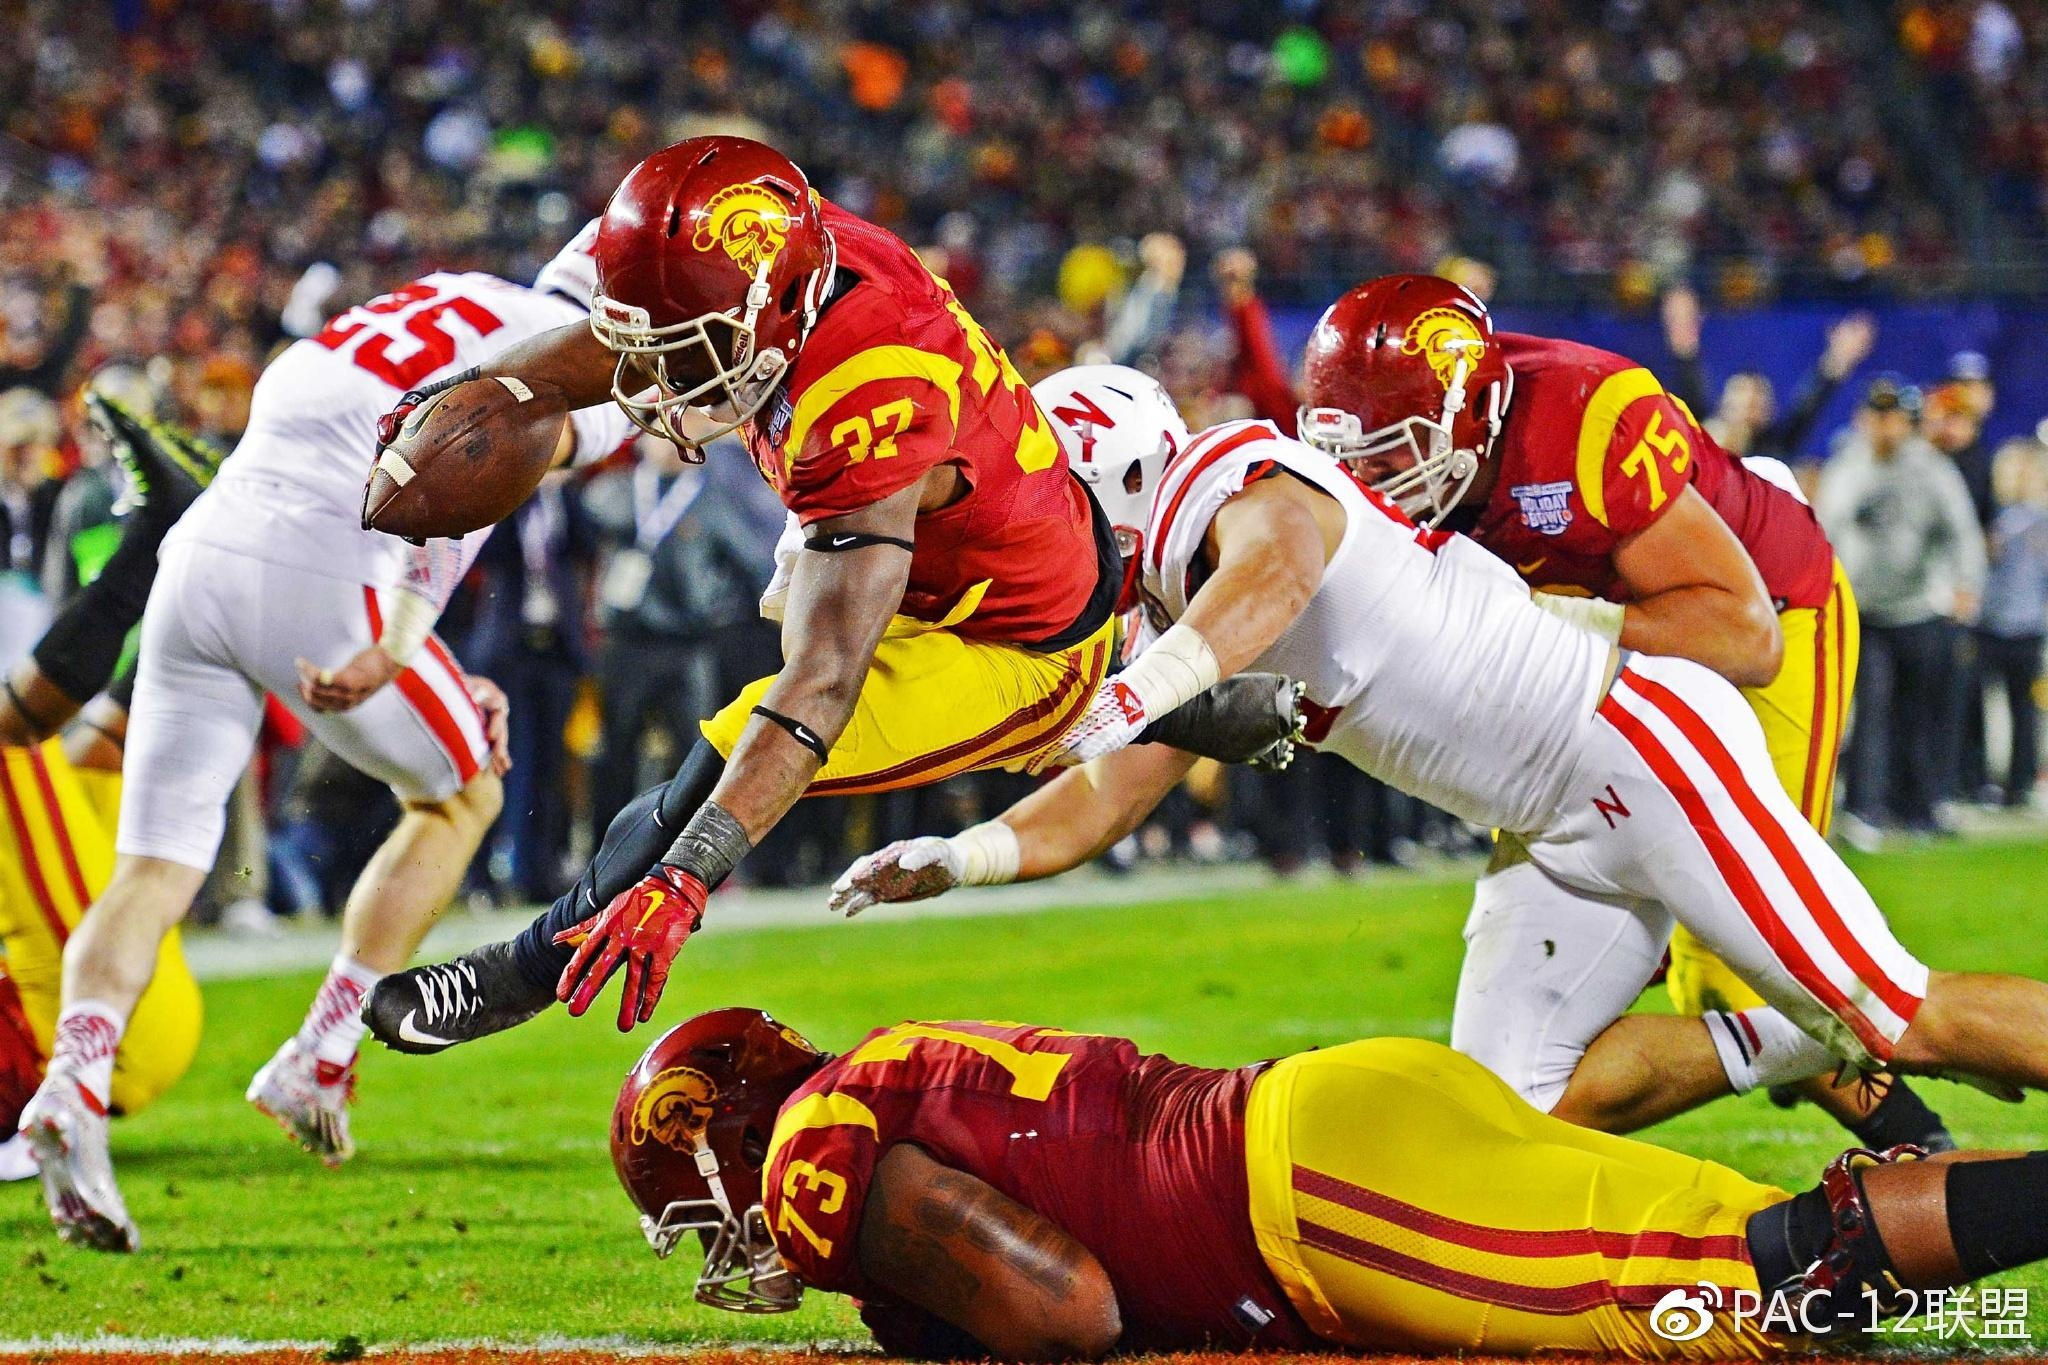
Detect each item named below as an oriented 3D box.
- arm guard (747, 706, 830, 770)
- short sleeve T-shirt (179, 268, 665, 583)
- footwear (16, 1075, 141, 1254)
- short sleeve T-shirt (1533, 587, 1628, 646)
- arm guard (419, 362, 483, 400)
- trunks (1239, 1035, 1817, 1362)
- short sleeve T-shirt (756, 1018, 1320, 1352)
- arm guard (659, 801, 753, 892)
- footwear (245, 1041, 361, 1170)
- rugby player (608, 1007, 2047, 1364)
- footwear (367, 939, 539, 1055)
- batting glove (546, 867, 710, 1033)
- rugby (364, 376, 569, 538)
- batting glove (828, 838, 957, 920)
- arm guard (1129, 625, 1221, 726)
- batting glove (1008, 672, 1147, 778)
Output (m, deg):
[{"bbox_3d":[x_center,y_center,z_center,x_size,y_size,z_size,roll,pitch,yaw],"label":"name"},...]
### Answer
[{"bbox_3d":[-0.538,0.124,5.811,0.147,0.040,0.133,33,9,28],"label":"arm guard"},{"bbox_3d":[-1.851,-0.776,7.371,1.438,0.582,0.746,19,40,10],"label":"short sleeve T-shirt"},{"bbox_3d":[-2.464,1.269,6.599,0.236,0.429,0.311,-7,12,-28],"label":"footwear"},{"bbox_3d":[1.436,-0.180,6.564,0.205,0.099,0.159,27,2,9],"label":"short sleeve T-shirt"},{"bbox_3d":[-1.442,-0.736,6.335,0.127,0.062,0.098,-27,13,11],"label":"arm guard"},{"bbox_3d":[1.033,1.160,5.484,1.034,0.413,0.606,8,10,13],"label":"trunks"},{"bbox_3d":[0.015,1.093,5.656,0.932,0.331,0.755,-2,2,12],"label":"short sleeve T-shirt"},{"bbox_3d":[-0.718,0.389,5.788,0.125,0.211,0.162,32,-1,33],"label":"arm guard"},{"bbox_3d":[-2.022,1.194,7.091,0.267,0.404,0.164,-5,11,-17],"label":"footwear"},{"bbox_3d":[0.226,1.188,5.974,3.991,0.963,1.095,-3,-6,10],"label":"rugby player"},{"bbox_3d":[-1.344,0.810,6.452,0.572,0.201,0.243,-15,2,-8],"label":"footwear"},{"bbox_3d":[-0.875,0.580,5.663,0.297,0.390,0.150,32,-1,-2],"label":"batting glove"},{"bbox_3d":[-1.395,-0.535,6.315,0.469,0.316,0.283,-32,35,-9],"label":"rugby"},{"bbox_3d":[-0.331,0.456,6.228,0.281,0.171,0.116,-23,53,-26],"label":"batting glove"},{"bbox_3d":[0.363,-0.002,5.928,0.177,0.133,0.106,-32,-20,-15],"label":"arm guard"},{"bbox_3d":[0.174,0.095,5.918,0.295,0.168,0.119,-19,-35,34],"label":"batting glove"}]
